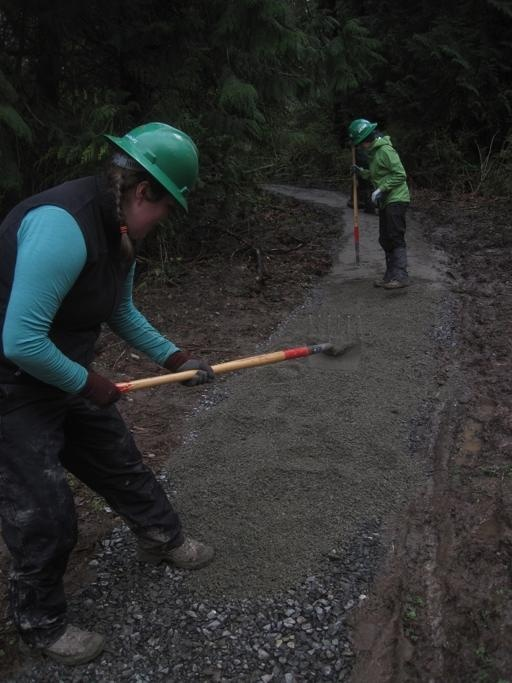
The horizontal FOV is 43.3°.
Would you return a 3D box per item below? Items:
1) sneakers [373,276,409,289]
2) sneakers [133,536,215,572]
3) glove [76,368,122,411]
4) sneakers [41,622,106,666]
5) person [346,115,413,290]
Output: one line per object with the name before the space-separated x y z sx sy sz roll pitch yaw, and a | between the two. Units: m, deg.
sneakers | 1.366 -0.596 6.612 0.364 0.099 0.210 5 22 31
sneakers | -0.402 1.029 3.192 0.390 0.143 0.151 0 27 -7
glove | -0.653 0.190 2.639 0.132 0.057 0.171 22 17 -51
sneakers | -0.747 1.264 2.702 0.260 0.094 0.121 1 32 -24
person | 1.345 -1.519 6.888 0.538 1.659 1.471 -6 21 10
